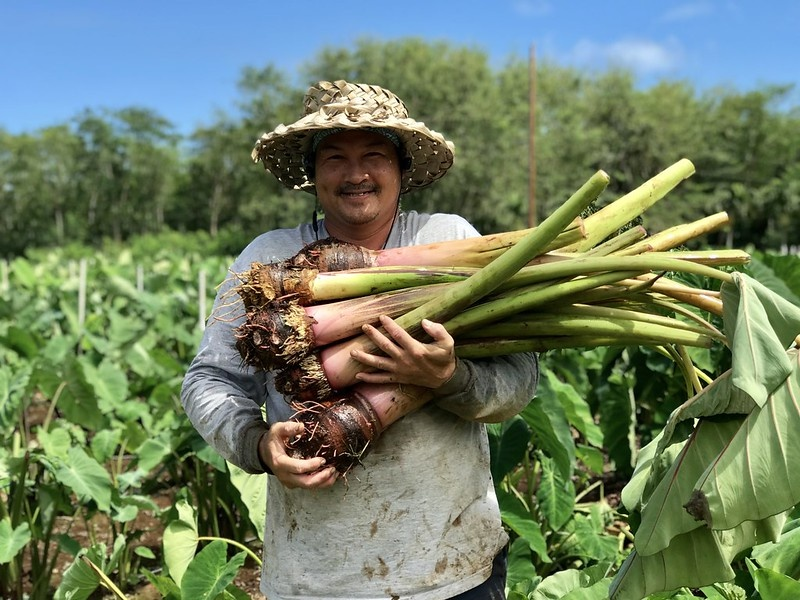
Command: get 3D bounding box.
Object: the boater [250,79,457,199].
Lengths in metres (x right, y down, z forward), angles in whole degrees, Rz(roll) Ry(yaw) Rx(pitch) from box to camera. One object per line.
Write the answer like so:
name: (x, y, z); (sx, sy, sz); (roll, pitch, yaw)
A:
boater: (-0.157, -0.706, 2.849); (0.705, 0.297, 0.773); (4, 1, -2)
